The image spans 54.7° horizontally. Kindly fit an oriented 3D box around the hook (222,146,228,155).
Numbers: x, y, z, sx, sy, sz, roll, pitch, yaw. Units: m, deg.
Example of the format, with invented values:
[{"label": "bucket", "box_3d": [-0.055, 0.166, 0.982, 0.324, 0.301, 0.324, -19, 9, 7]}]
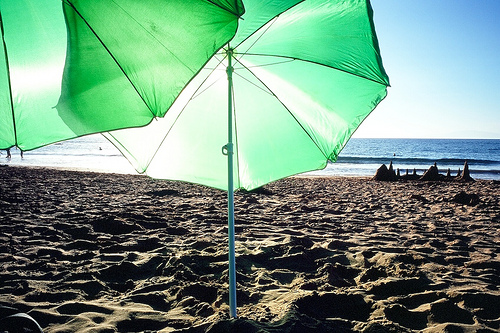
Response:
[{"label": "hook", "box_3d": [-0.262, -0.165, 5.066, 0.050, 0.084, 0.082, 3, 9, 3]}]
